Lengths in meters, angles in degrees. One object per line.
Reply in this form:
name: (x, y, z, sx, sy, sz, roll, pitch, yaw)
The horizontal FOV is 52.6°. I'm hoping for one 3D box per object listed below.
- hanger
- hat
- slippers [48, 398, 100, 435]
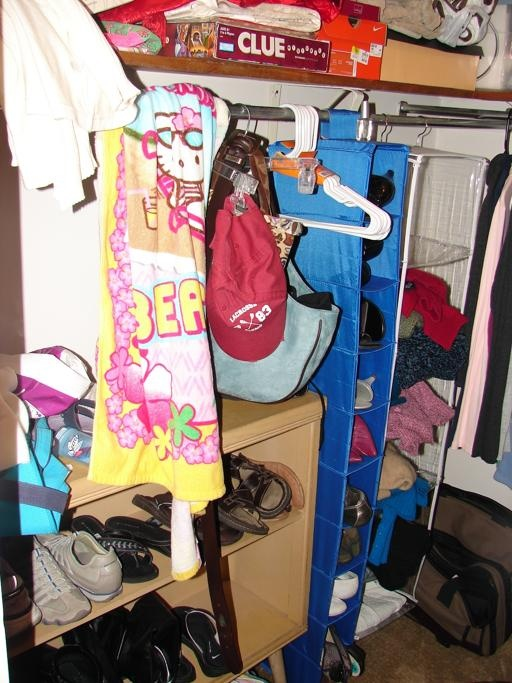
hanger: (0.159, -0.351, 1.113, 0.052, 0.239, 0.363, -24, 36, -34)
hat: (-0.013, -0.101, 0.938, 0.131, 0.304, 0.127, 9, 23, 15)
slippers: (-0.350, 0.147, 1.015, 0.091, 0.038, 0.055, -20, 28, -27)
